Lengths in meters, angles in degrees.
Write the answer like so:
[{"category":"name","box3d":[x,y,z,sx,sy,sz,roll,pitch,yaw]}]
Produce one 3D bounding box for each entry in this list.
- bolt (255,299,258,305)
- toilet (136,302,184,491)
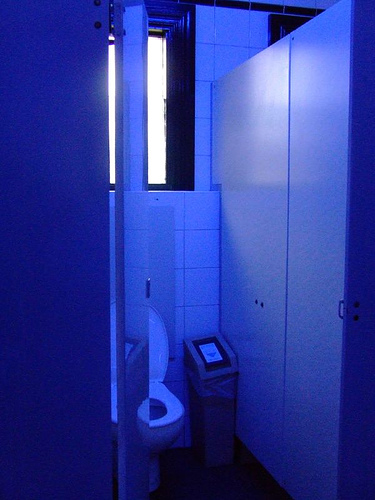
[{"category":"bolt","box3d":[0.276,0.209,1.942,0.001,0.021,0.027,-4,11,-15]},{"category":"toilet","box3d":[-0.149,0.601,1.994,0.219,0.766,0.326,-1,9,-26]}]
